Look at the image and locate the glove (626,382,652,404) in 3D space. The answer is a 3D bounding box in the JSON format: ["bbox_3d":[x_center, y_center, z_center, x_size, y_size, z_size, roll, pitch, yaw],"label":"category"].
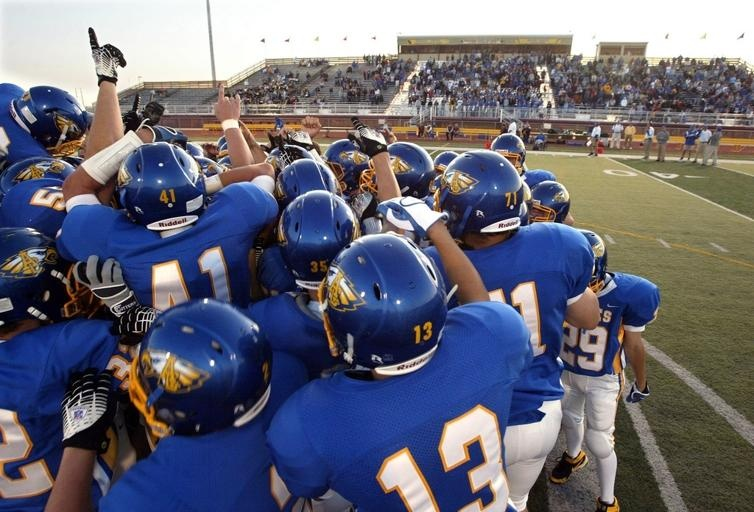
[{"bbox_3d":[2.613,1.376,5.719,0.181,0.230,0.517,0,-13,7],"label":"glove"}]

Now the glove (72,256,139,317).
[{"bbox_3d":[-2.120,0.219,4.518,0.345,0.277,0.912,12,-11,-2],"label":"glove"}]

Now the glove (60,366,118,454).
[{"bbox_3d":[-2.063,1.126,4.113,0.379,0.551,0.161,-1,-17,-8],"label":"glove"}]
